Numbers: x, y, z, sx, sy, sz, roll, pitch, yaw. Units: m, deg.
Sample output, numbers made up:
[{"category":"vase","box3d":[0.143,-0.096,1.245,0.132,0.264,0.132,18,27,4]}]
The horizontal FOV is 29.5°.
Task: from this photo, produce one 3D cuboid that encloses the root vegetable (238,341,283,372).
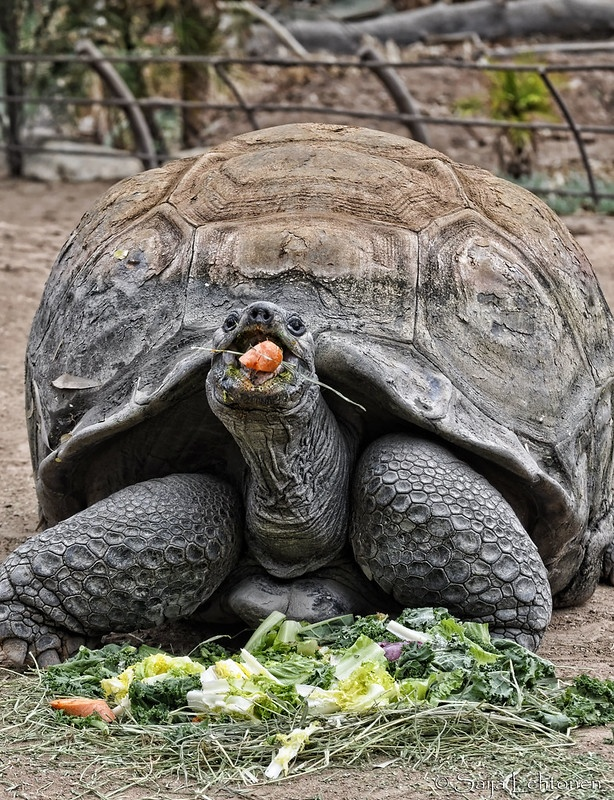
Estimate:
[{"category":"root vegetable","box3d":[-0.104,-0.091,2.666,0.105,0.056,0.046,-3,15,-9]}]
